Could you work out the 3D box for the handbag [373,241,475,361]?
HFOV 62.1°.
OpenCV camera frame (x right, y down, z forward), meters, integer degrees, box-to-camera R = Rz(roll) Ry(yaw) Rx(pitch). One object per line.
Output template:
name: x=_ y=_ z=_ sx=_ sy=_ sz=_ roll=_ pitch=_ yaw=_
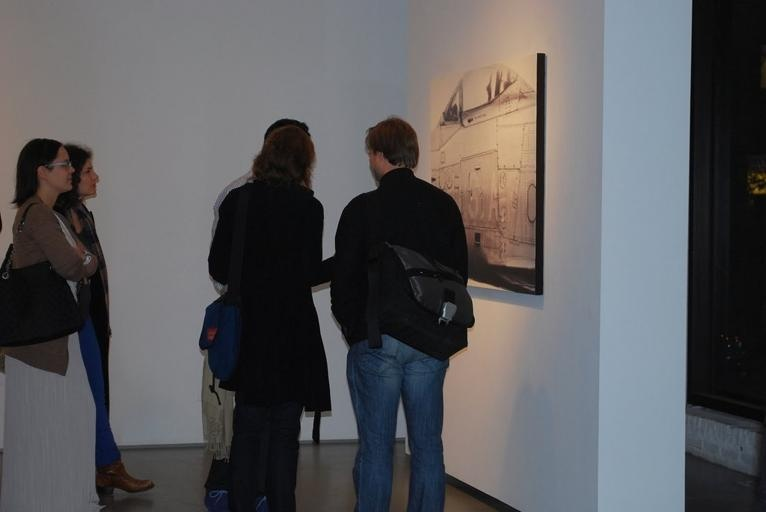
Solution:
handbag: x=0.191 y=0.249 z=3.490 sx=0.453 sy=0.469 sz=0.255 roll=19 pitch=-28 yaw=-35
